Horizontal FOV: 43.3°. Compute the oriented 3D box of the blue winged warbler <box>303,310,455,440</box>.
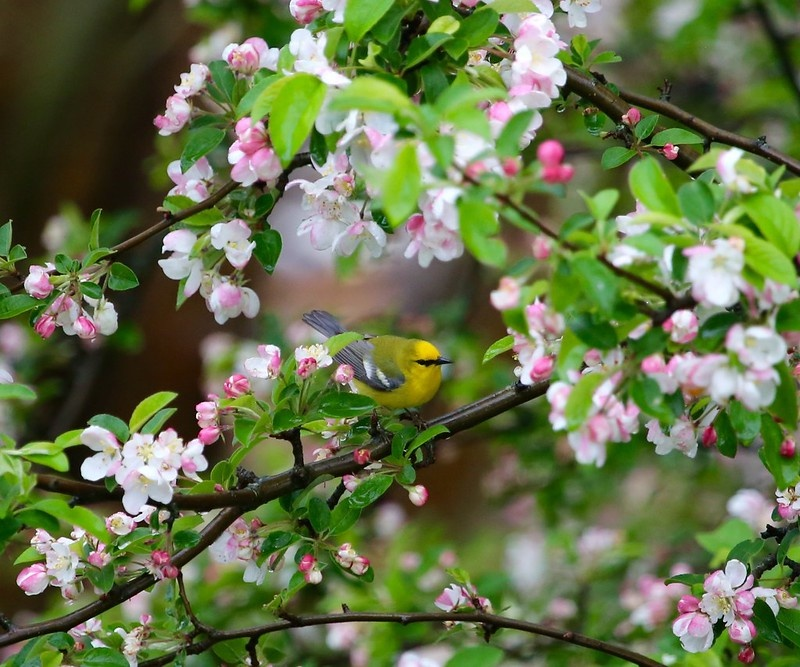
[{"bbox_3d":[-0.162,0.136,5.891,0.408,1.021,0.524,-29,-45,-46],"label":"blue winged warbler"}]
